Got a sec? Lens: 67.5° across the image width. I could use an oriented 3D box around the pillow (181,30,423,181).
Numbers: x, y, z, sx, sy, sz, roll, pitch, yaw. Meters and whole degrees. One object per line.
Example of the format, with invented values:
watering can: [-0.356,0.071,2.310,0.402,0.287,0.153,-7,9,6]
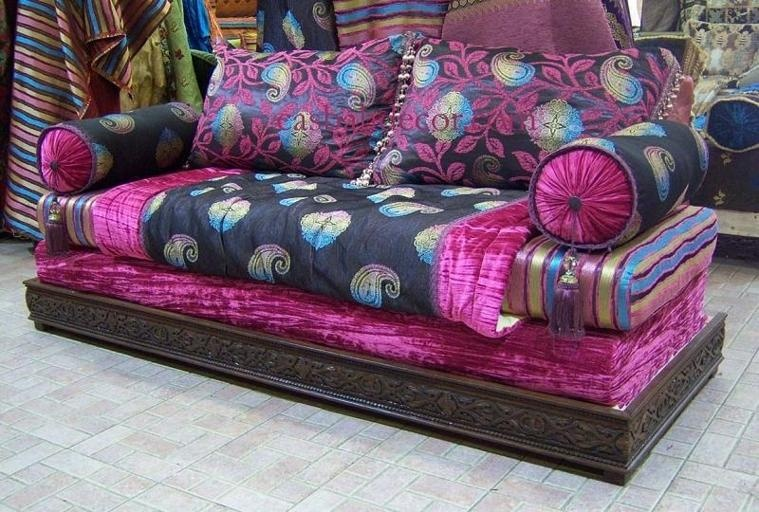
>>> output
pillow: [-0.309,-0.671,2.649,1.272,0.573,0.432,14,26,34]
